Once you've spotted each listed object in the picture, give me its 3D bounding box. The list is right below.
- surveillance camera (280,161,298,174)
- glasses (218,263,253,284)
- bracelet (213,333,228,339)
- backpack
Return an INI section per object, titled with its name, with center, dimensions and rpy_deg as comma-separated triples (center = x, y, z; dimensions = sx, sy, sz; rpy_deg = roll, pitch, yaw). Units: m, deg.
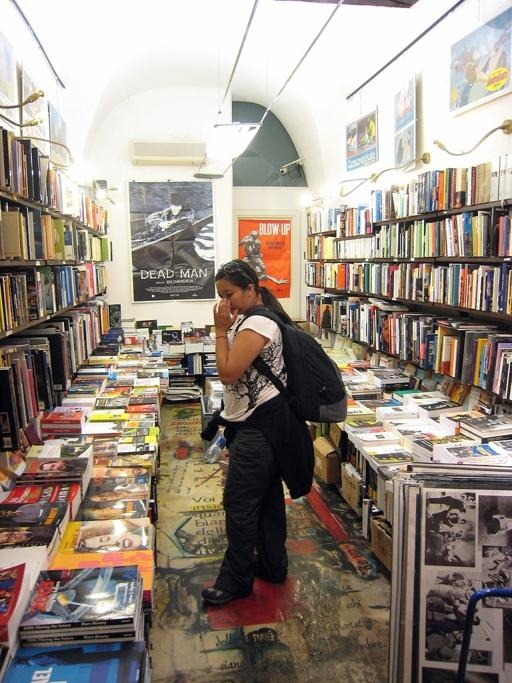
[surveillance camera]
center = 0.518, -2.709, 7.400
dimensions = 0.302, 0.079, 0.181
rpy_deg = -37, -15, 7
[glasses]
center = -0.084, -0.311, 2.118
dimensions = 0.196, 0.112, 0.121
rpy_deg = -1, 5, -14
[bracelet]
center = -0.156, -0.031, 2.132
dimensions = 0.053, 0.032, 0.103
rpy_deg = -1, 5, -7
[backpack]
center = 0.181, 0.087, 2.462
dimensions = 0.568, 0.649, 0.419
rpy_deg = -6, 10, -1
